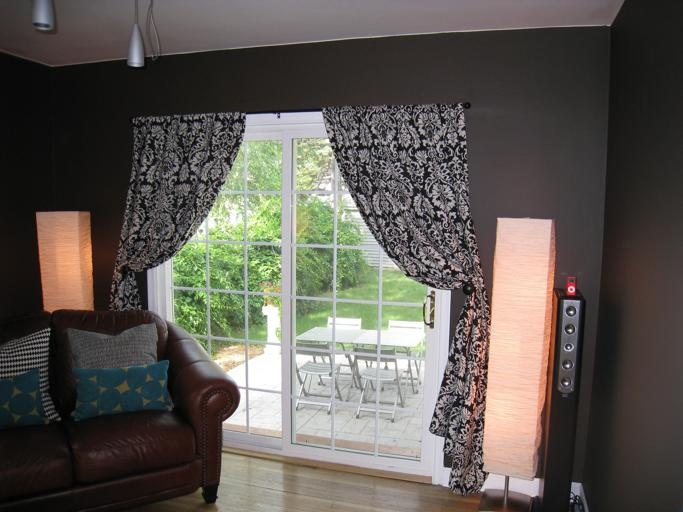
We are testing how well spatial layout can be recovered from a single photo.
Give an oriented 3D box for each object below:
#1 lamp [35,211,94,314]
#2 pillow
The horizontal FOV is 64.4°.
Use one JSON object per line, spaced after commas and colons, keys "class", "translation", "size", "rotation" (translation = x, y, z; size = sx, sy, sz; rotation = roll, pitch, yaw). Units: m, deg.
{"class": "lamp", "translation": [-2.272, 0.039, 4.523], "size": [0.348, 0.831, 0.315], "rotation": [4, 2, 16]}
{"class": "pillow", "translation": [-1.789, 0.857, 3.993], "size": [1.034, 0.663, 0.312], "rotation": [-3, -29, -18]}
